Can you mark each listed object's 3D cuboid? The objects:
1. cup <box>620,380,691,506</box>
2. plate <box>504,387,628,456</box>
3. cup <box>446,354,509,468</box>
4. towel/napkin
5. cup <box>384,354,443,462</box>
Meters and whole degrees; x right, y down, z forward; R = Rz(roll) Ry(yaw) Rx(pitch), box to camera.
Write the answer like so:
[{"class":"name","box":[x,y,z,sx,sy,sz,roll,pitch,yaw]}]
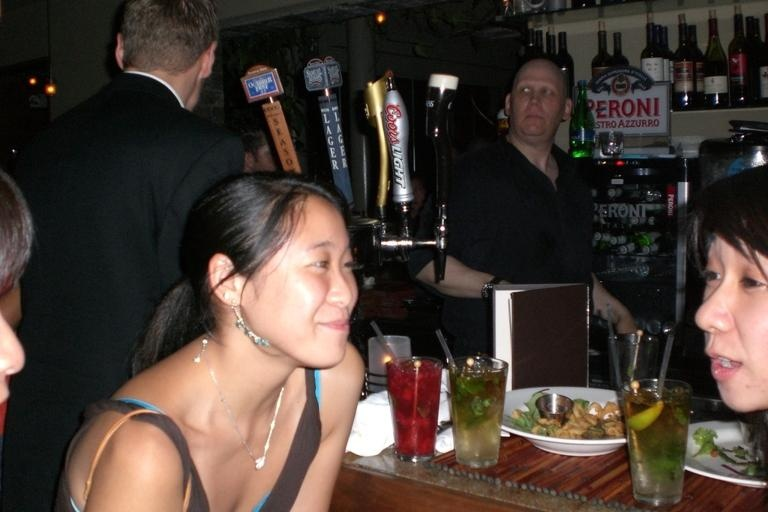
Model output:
[{"class":"cup","box":[0.704,0.470,1.553,0.166,0.287,0.176,-2,5,0]},{"class":"plate","box":[0.541,0.496,1.838,0.344,0.125,0.404,-1,5,15]},{"class":"cup","box":[0.268,0.445,1.691,0.159,0.267,0.103,-2,5,6]},{"class":"towel/napkin","box":[0.046,0.480,1.813,0.257,0.073,0.280,-2,17,0]},{"class":"cup","box":[0.093,0.442,1.769,0.137,0.276,0.152,1,6,36]}]
